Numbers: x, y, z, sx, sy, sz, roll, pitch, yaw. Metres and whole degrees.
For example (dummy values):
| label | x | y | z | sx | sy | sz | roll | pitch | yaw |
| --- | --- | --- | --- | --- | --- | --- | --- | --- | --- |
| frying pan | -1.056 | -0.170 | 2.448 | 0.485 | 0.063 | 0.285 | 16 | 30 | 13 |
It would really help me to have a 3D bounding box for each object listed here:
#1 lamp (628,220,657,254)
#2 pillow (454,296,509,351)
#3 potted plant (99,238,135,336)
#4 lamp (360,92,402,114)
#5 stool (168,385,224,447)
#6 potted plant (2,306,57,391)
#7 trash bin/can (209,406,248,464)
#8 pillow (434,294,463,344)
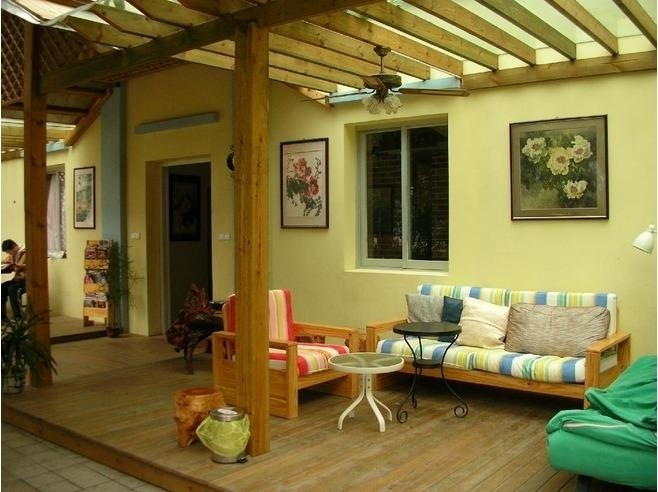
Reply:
| label | x | y | z | sx | sy | sz | roll | pitch | yaw |
| --- | --- | --- | --- | --- | --- | --- | --- | --- | --- |
| lamp | 3.061 | -0.098 | 4.781 | 0.206 | 0.304 | 0.313 | 32 | 6 | 18 |
| pillow | 1.653 | 0.856 | 5.295 | 0.384 | 0.433 | 0.227 | 20 | -21 | 10 |
| potted plant | -3.699 | 0.715 | 8.589 | 0.493 | 1.615 | 0.333 | -1 | 2 | -17 |
| lamp | 0.500 | -1.337 | 4.603 | 0.326 | 0.195 | 0.285 | 0 | 2 | 15 |
| stool | -1.110 | 1.417 | 4.126 | 0.367 | 0.392 | 0.456 | -2 | -6 | 22 |
| potted plant | -3.352 | 1.158 | 5.440 | 0.462 | 0.880 | 0.608 | -2 | 3 | -33 |
| trash bin/can | -0.749 | 1.480 | 3.908 | 0.356 | 0.358 | 0.362 | 1 | -5 | -15 |
| pillow | 1.297 | 0.809 | 5.344 | 0.459 | 0.527 | 0.211 | 1 | -19 | 25 |
